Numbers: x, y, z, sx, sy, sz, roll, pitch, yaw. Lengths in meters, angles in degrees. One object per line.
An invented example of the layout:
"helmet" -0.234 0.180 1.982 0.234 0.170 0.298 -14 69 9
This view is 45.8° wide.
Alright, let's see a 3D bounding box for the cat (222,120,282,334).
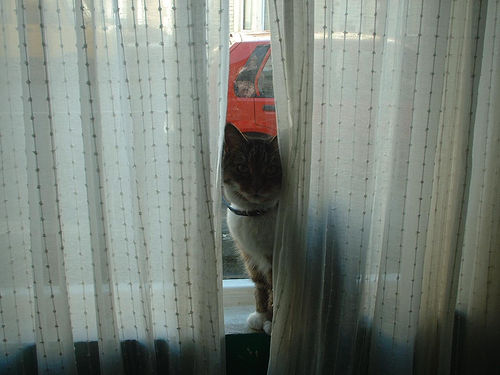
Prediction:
"cat" 0.008 0.169 2.471 0.245 0.863 0.167 -2 -2 -4
